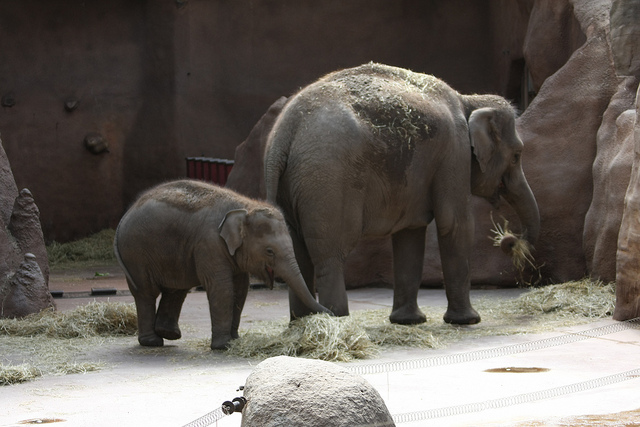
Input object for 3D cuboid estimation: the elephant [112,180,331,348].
[{"bbox_3d":[-0.862,0.457,7.881,2.017,1.336,0.826,-1,2,16],"label":"elephant"}]
